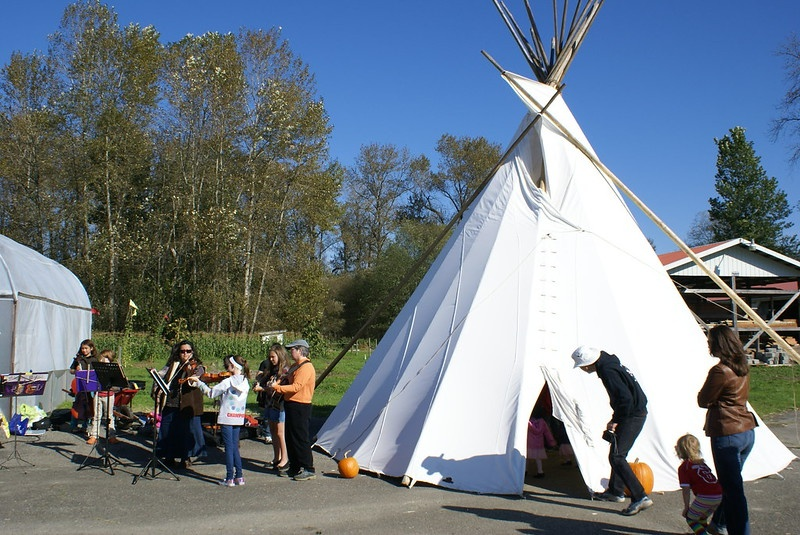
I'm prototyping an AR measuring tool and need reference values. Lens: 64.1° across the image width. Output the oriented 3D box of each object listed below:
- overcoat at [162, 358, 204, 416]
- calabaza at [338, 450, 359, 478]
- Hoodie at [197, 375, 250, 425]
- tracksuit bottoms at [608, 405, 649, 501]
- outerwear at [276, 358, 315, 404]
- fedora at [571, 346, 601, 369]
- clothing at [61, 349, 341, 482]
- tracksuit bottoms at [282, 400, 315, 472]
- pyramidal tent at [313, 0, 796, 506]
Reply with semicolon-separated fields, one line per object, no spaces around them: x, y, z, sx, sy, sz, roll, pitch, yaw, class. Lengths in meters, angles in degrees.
-4.447;2.457;13.032;0.951;1.356;0.724;-1;-13;15;overcoat
-1.003;3.916;12.551;0.342;0.468;0.366;-2;-10;-5;calabaza
-3.369;2.605;12.565;0.980;0.959;0.789;-3;-7;22;Hoodie
4.033;3.368;11.326;0.633;1.520;0.398;2;4;20;tracksuit bottoms
-2.065;2.352;12.751;0.668;0.773;1.130;4;-14;-5;outerwear
3.351;1.564;11.426;0.399;0.405;0.148;28;-27;57;fedora
-3.063;2.978;13.121;3.937;1.598;2.187;0;-4;-2;clothing
-1.990;3.314;12.503;0.558;1.462;0.212;0;4;-10;tracksuit bottoms
4.382;1.583;16.171;9.491;11.141;10.106;-1;-7;32;pyramidal tent
